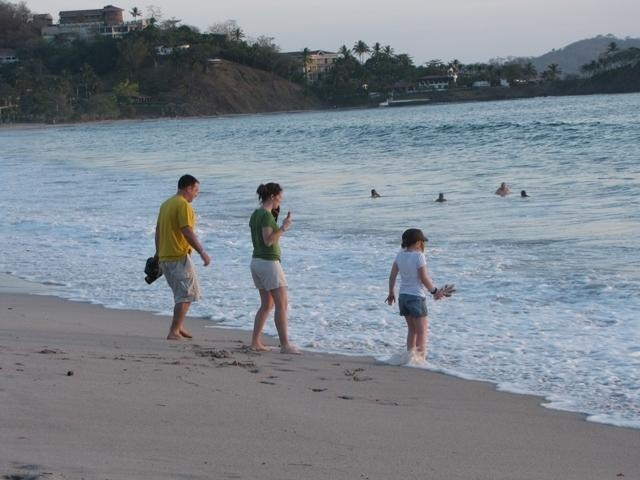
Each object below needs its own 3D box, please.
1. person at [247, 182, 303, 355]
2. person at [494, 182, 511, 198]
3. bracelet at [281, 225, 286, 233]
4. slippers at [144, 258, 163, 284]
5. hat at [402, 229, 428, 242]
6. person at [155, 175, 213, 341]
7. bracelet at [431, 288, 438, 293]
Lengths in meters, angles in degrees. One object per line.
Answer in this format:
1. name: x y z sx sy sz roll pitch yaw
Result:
1. person: -0.520 0.317 10.411 0.652 1.919 0.383 9 11 11
2. person: 4.352 -1.228 22.197 0.333 0.330 0.865 8 10 10
3. bracelet: -0.391 -0.125 10.186 0.071 0.058 0.016 1 2 8
4. slippers: -1.929 0.359 10.905 0.143 0.306 0.214 10 -4 -38
5. hat: 1.052 -0.055 10.296 0.244 0.139 0.263 6 10 6
6. person: -1.586 0.220 10.729 0.350 1.922 0.751 -4 15 -45
7. bracelet: 1.239 0.561 10.093 0.077 0.026 0.072 -16 9 -10
